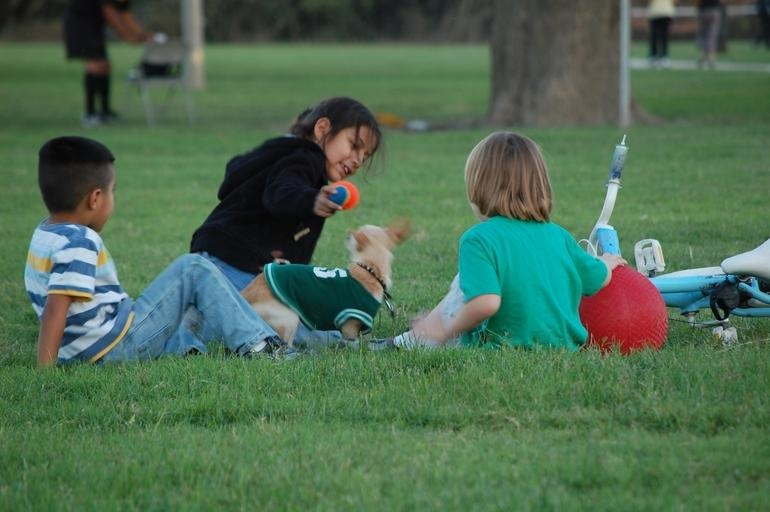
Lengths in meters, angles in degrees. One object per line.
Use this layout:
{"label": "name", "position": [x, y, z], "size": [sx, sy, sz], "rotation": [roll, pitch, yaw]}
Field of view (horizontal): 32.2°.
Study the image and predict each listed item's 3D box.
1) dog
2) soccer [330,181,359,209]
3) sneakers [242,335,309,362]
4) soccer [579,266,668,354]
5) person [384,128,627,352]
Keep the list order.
{"label": "dog", "position": [-0.468, 0.260, 10.543], "size": [1.383, 1.091, 0.548], "rotation": [-1, 16, 1]}
{"label": "soccer", "position": [-0.303, -0.448, 10.347], "size": [0.202, 0.207, 0.122], "rotation": [-15, 25, 4]}
{"label": "sneakers", "position": [-0.848, 0.704, 10.301], "size": [0.487, 0.201, 0.184], "rotation": [-2, 2, -3]}
{"label": "soccer", "position": [1.819, 0.386, 10.433], "size": [0.588, 0.692, 0.599], "rotation": [-2, 9, -3]}
{"label": "person", "position": [0.986, -0.105, 10.199], "size": [1.466, 1.622, 0.548], "rotation": [2, 9, 9]}
